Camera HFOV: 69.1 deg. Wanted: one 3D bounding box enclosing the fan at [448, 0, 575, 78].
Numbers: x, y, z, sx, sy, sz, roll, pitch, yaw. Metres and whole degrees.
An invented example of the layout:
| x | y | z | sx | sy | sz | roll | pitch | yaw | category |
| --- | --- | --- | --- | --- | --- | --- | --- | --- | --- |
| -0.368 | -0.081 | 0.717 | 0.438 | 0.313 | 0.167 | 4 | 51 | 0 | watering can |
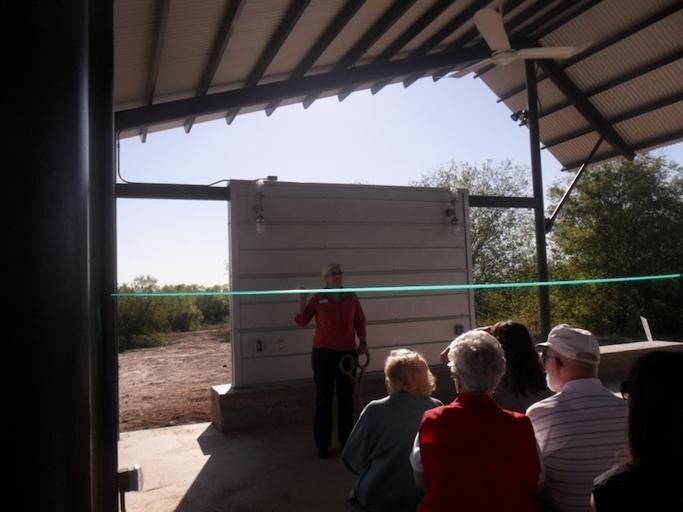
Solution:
| x | y | z | sx | sy | sz | roll | pitch | yaw | category |
| --- | --- | --- | --- | --- | --- | --- | --- | --- | --- |
| 2.166 | -2.792 | 6.270 | 1.490 | 0.269 | 1.510 | 1 | -2 | 2 | fan |

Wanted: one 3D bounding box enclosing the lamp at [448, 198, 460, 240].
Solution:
| x | y | z | sx | sy | sz | roll | pitch | yaw | category |
| --- | --- | --- | --- | --- | --- | --- | --- | --- | --- |
| 1.453 | -0.524 | 6.454 | 0.162 | 0.523 | 0.053 | 0 | -3 | -38 | lamp |

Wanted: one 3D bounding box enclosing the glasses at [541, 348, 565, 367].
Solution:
| x | y | z | sx | sy | sz | roll | pitch | yaw | category |
| --- | --- | --- | --- | --- | --- | --- | --- | --- | --- |
| 0.854 | 0.419 | 2.034 | 0.074 | 0.055 | 0.101 | -3 | -22 | 30 | glasses |

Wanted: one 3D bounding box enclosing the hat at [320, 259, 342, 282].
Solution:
| x | y | z | sx | sy | sz | roll | pitch | yaw | category |
| --- | --- | --- | --- | --- | --- | --- | --- | --- | --- |
| -0.079 | 0.133 | 4.651 | 0.160 | 0.207 | 0.200 | 7 | -27 | -27 | hat |

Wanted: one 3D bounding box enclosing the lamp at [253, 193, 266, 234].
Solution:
| x | y | z | sx | sy | sz | roll | pitch | yaw | category |
| --- | --- | --- | --- | --- | --- | --- | --- | --- | --- |
| -0.899 | -0.469 | 5.368 | 0.113 | 0.453 | 0.078 | -1 | -3 | -16 | lamp |

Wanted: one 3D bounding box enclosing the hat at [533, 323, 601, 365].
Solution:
| x | y | z | sx | sy | sz | roll | pitch | yaw | category |
| --- | --- | --- | --- | --- | --- | --- | --- | --- | --- |
| 0.901 | 0.338 | 1.980 | 0.145 | 0.094 | 0.205 | 16 | -7 | -30 | hat |
